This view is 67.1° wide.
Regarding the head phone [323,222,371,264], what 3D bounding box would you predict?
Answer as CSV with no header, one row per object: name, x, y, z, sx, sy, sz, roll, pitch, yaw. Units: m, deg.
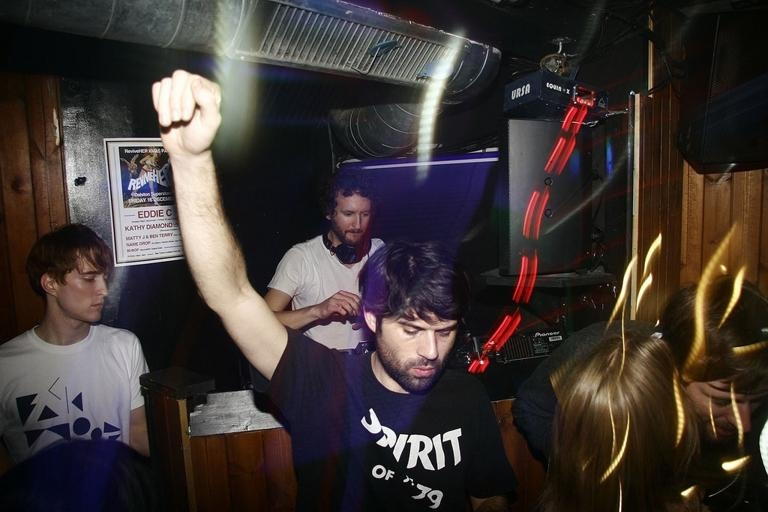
head phone,-0.279,-0.061,4.013,0.294,0.147,0.336,-21,-26,10
